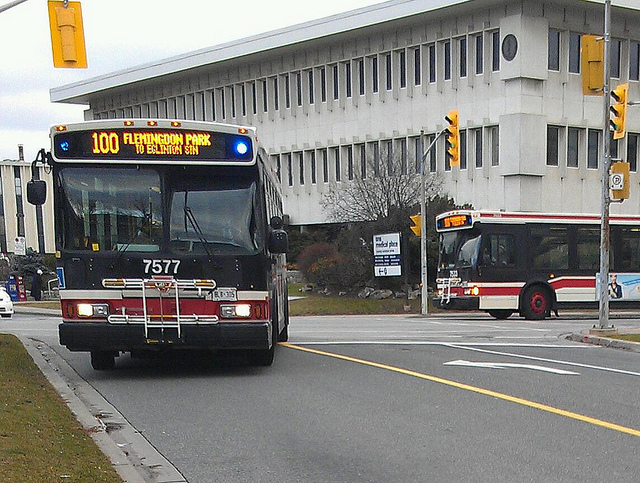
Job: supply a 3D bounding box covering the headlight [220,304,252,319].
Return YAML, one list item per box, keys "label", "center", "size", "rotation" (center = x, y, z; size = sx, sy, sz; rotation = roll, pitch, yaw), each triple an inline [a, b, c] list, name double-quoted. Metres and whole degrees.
- label: "headlight"
  center: [-1.408, 1.150, 13.392]
  size: [0.532, 0.240, 0.065]
  rotation: [0, 1, -11]

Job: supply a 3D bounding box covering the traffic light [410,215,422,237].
- label: "traffic light"
  center: [4.122, -0.710, 34.474]
  size: [0.406, 0.837, 0.557]
  rotation: [0, 1, 8]

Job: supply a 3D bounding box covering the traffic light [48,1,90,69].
- label: "traffic light"
  center: [-5.000, -4.080, 15.834]
  size: [0.711, 1.370, 0.430]
  rotation: [0, 1, -22]

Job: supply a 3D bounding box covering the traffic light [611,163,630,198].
- label: "traffic light"
  center: [7.765, -1.592, 20.776]
  size: [0.421, 0.912, 0.353]
  rotation: [0, 1, 14]

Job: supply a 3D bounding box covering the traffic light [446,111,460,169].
- label: "traffic light"
  center: [4.905, -3.871, 29.765]
  size: [0.440, 2.002, 1.326]
  rotation: [0, 1, 7]

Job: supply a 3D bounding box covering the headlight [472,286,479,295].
- label: "headlight"
  center: [5.332, 1.651, 27.475]
  size: [0.202, 0.240, 0.049]
  rotation: [-6, -6, 45]

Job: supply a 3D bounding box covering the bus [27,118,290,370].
- label: "bus"
  center: [-2.705, -0.146, 13.577]
  size: [3.488, 3.882, 1.068]
  rotation: [0, 1, 9]

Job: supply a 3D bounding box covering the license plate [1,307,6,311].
- label: "license plate"
  center: [-13.783, 2.901, 34.856]
  size: [0.179, 0.166, 0.071]
  rotation: [0, 1, -25]

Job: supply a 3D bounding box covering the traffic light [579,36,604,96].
- label: "traffic light"
  center: [6.860, -4.466, 20.184]
  size: [0.543, 1.561, 1.087]
  rotation: [0, 1, 20]

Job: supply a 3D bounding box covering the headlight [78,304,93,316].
- label: "headlight"
  center: [-3.906, 1.127, 13.358]
  size: [0.171, 0.209, 0.050]
  rotation: [0, 0, -11]
